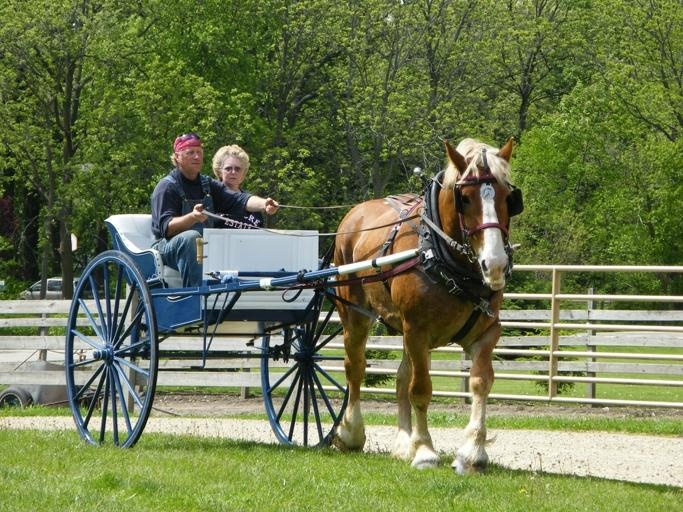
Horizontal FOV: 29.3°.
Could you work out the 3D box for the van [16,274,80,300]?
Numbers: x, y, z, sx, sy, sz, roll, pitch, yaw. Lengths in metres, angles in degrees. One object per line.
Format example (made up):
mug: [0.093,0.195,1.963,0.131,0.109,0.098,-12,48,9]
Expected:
van: [-14.861,1.597,64.331,2.833,1.443,1.710,3,-2,1]

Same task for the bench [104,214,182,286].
bench: [-4.040,0.014,27.853,1.523,1.518,1.612,-11,11,-40]
